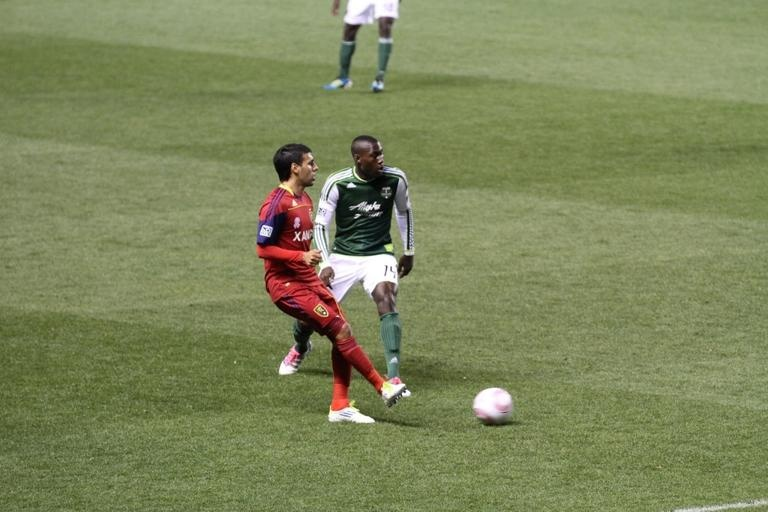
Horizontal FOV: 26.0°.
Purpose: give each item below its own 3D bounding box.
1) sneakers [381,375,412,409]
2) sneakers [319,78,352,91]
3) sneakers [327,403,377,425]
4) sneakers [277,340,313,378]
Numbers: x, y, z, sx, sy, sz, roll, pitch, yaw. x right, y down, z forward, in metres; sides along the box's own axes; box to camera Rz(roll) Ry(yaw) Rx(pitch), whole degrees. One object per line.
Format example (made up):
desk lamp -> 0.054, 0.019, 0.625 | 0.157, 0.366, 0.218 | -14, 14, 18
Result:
sneakers -> 0.095, 1.493, 18.495 | 0.203, 0.213, 0.418 | -46, 11, -22
sneakers -> -0.669, -2.579, 24.601 | 0.399, 0.169, 0.168 | -3, 18, -7
sneakers -> -0.341, 1.770, 18.575 | 0.543, 0.213, 0.196 | 0, -1, -1
sneakers -> -1.031, 1.225, 19.336 | 0.208, 0.573, 0.229 | 38, 4, 7
